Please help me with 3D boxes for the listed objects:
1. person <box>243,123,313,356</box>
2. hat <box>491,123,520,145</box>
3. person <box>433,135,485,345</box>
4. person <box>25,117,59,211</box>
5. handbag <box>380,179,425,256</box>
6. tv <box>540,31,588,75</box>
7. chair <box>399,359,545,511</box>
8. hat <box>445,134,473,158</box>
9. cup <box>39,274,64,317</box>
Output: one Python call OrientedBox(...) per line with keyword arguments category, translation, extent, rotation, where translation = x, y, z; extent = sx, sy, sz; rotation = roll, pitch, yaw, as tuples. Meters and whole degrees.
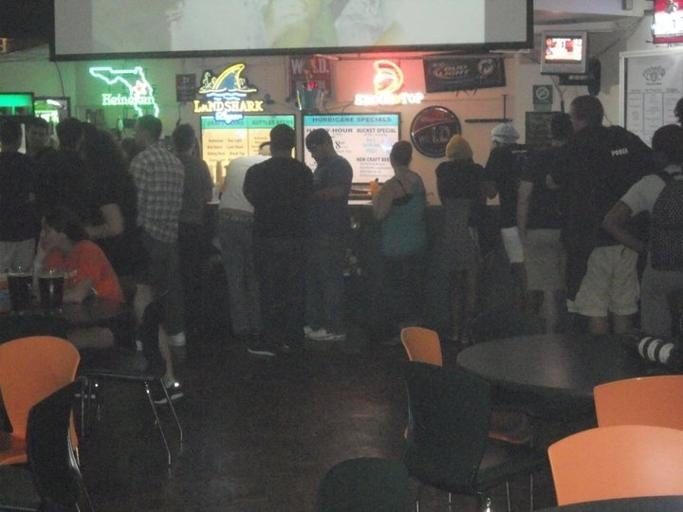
OrientedBox(category="person", translation=(-0.488, -0.125, 5.861), extent=(0.533, 1.713, 0.292), rotation=(-8, 13, -31))
OrientedBox(category="hat", translation=(1.287, -0.966, 6.077), extent=(0.199, 0.216, 0.251), rotation=(0, 0, 36))
OrientedBox(category="person", translation=(0.915, -0.113, 6.028), extent=(0.366, 1.612, 0.361), rotation=(0, 11, 8))
OrientedBox(category="person", translation=(-2.067, -0.671, 5.340), extent=(0.168, 0.534, 1.413), rotation=(-6, 14, -21))
OrientedBox(category="handbag", translation=(0.474, -0.349, 6.199), extent=(0.422, 0.652, 0.314), rotation=(-1, 24, 2))
OrientedBox(category="tv", translation=(2.293, -2.071, 8.190), extent=(0.495, 0.460, 0.500), rotation=(5, -11, -1))
OrientedBox(category="chair", translation=(0.553, 0.688, 3.272), extent=(0.561, 0.535, 0.337), rotation=(-9, 14, -32))
OrientedBox(category="hat", translation=(0.913, -0.861, 6.051), extent=(0.148, 0.160, 0.223), rotation=(-2, 10, 9))
OrientedBox(category="cup", translation=(-1.466, 0.172, 3.928), extent=(0.113, 0.187, 0.126), rotation=(6, 17, -2))
